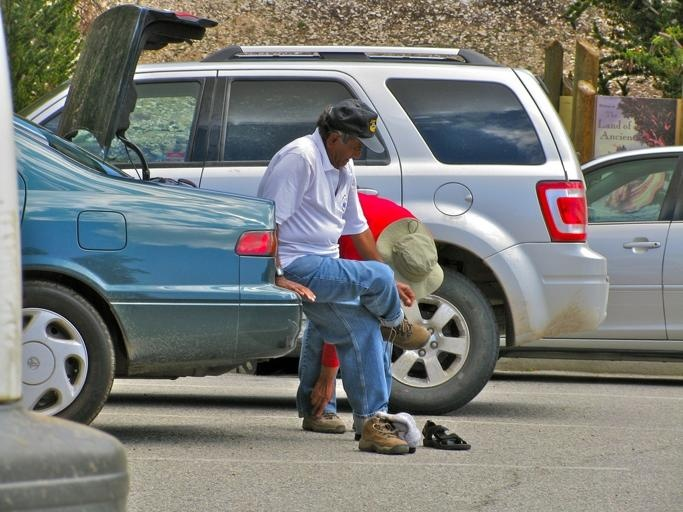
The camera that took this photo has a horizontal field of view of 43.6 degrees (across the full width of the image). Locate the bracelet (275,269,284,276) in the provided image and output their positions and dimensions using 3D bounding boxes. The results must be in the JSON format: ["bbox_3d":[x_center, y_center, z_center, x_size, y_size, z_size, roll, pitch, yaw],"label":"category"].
[{"bbox_3d":[-0.348,0.087,4.745,0.038,0.032,0.064,3,7,-6],"label":"bracelet"}]

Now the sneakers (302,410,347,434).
[{"bbox_3d":[-0.108,1.075,5.444,0.280,0.111,0.113,-5,-2,26],"label":"sneakers"}]

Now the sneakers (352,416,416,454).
[{"bbox_3d":[0.229,1.026,4.899,0.430,0.174,0.148,-1,-3,34],"label":"sneakers"}]

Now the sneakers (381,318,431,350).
[{"bbox_3d":[0.348,0.460,5.059,0.347,0.133,0.143,0,-31,-2],"label":"sneakers"}]

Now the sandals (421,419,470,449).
[{"bbox_3d":[0.603,1.062,5.029,0.131,0.098,0.259,-1,0,-34],"label":"sandals"}]

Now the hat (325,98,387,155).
[{"bbox_3d":[0.055,-0.763,4.883,0.375,0.190,0.237,22,29,-3],"label":"hat"}]

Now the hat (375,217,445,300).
[{"bbox_3d":[0.460,0.022,5.288,0.427,0.492,0.189,-29,9,-29],"label":"hat"}]
